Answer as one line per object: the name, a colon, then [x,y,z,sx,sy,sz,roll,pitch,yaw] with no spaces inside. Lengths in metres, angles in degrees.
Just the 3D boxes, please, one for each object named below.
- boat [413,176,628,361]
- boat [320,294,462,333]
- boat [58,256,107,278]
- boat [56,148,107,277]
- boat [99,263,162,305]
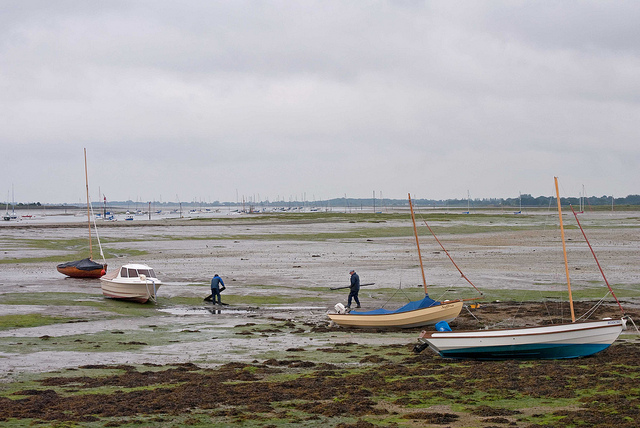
boat: [9.417,3.559,48.931,10.181,6.469,1.898,-5,-1,11]
boat: [3.819,5.475,54.829,8.881,1.761,2.431,0,-1,6]
boat: [-16.846,3.764,70.822,3.472,1.030,1.860,-2,3,19]
boat: [-17.025,-0.285,72.206,2.711,9.455,6.834,2,-8,-37]
boat: [-11.416,4.216,62.308,2.616,2.021,6.825,2,0,-32]
